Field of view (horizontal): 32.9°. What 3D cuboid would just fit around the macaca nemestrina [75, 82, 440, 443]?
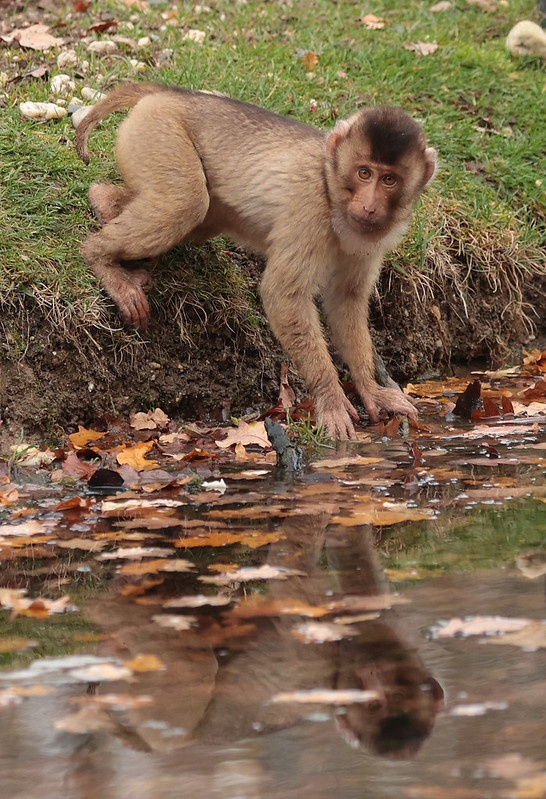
[{"bbox_3d":[-0.047,-0.684,4.322,1.587,1.604,0.734,0,14,8],"label":"macaca nemestrina"}]
